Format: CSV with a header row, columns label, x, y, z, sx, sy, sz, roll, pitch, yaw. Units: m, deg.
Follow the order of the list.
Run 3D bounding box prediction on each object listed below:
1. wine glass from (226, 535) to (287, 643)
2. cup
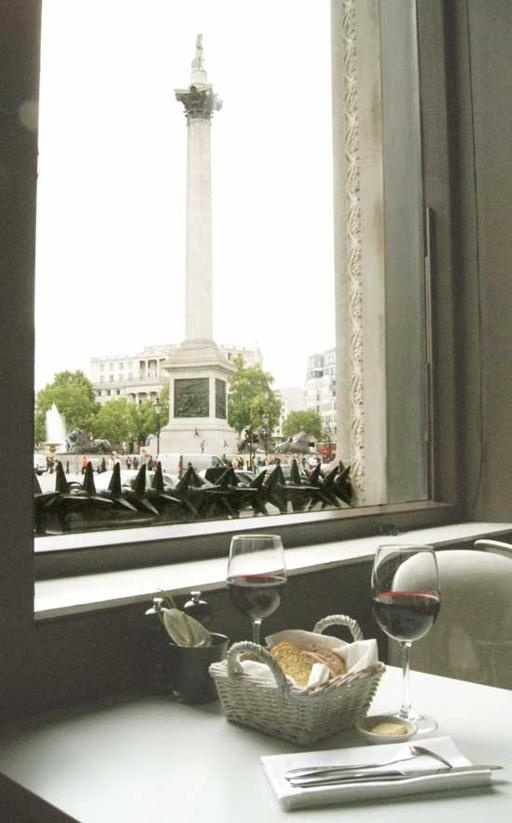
label,x,y,z,sx,sy,sz,roll,pitch,yaw
wine glass,0.001,0.205,0.938,0.057,0.162,0.061,-1,8,-11
cup,-0.066,0.277,0.928,0.046,0.050,0.058,1,-11,-5
